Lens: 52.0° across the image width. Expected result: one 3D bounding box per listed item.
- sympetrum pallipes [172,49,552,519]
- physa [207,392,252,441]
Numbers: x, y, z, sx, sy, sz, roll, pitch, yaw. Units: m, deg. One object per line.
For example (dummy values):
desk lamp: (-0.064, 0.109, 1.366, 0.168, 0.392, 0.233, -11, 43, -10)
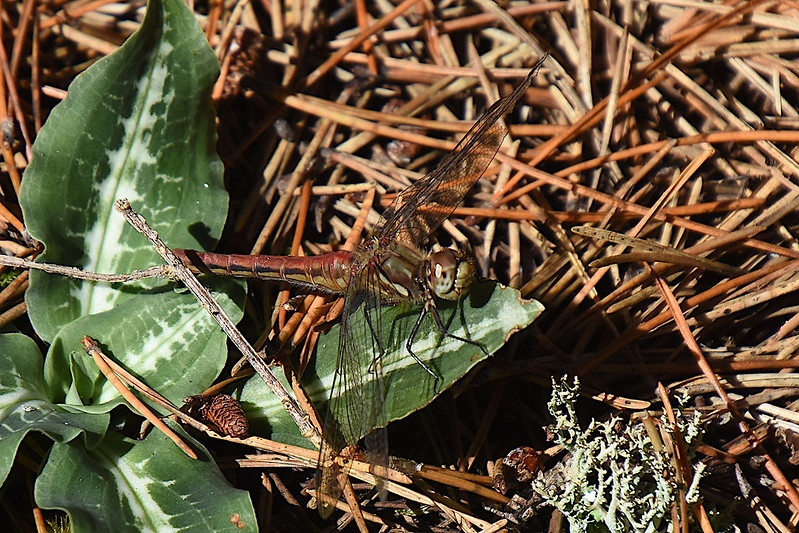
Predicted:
sympetrum pallipes: (-0.266, 0.074, 4.131, 1.668, 1.377, 2.669, -2, 6, 23)
physa: (-0.746, 0.670, 3.567, 0.227, 0.127, 0.123, 32, 48, 21)
